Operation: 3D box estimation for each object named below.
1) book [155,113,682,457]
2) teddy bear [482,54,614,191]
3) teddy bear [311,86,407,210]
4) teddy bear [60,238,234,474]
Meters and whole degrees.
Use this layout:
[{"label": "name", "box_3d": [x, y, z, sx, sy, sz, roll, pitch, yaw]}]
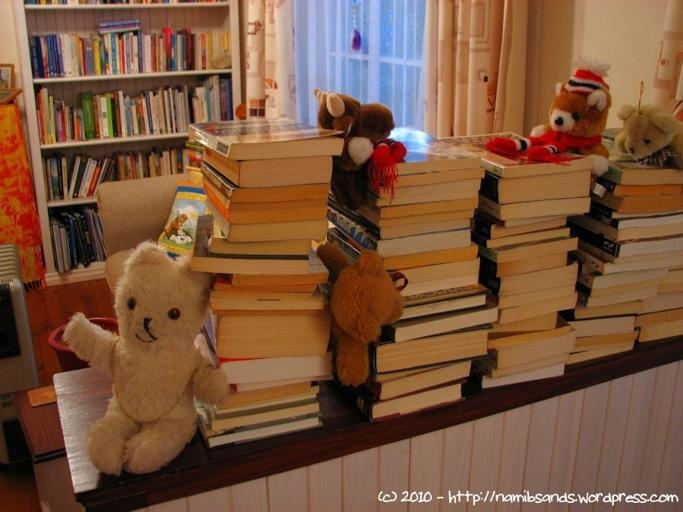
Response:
[{"label": "book", "box_3d": [0.106, 0.010, 1.261, 0.834, 0.567, 0.289, -6, 17, -17]}, {"label": "teddy bear", "box_3d": [0.472, -0.301, 1.314, 0.239, 0.241, 0.241, -11, 26, -36]}, {"label": "teddy bear", "box_3d": [0.027, -0.205, 1.177, 0.196, 0.233, 0.133, 3, 17, 13]}, {"label": "teddy bear", "box_3d": [-0.348, 0.178, 1.066, 0.339, 0.384, 0.227, 7, 14, 5]}]
